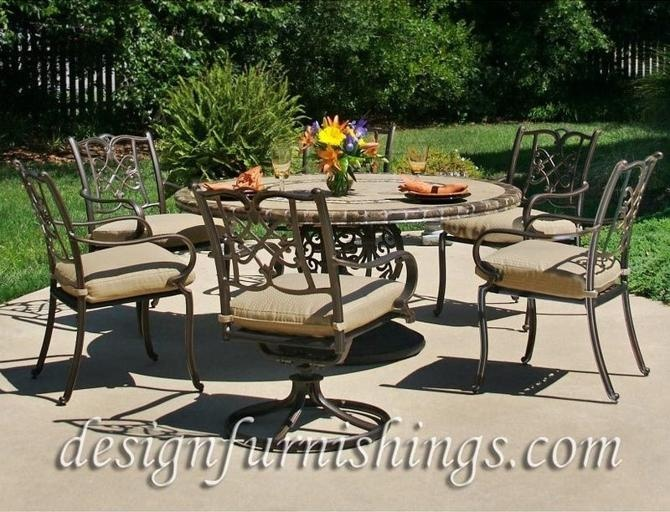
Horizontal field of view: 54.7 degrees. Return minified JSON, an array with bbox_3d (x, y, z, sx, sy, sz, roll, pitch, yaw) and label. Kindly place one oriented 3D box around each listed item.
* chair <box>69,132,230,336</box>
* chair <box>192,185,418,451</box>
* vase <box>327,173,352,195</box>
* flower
[{"bbox_3d":[-1.259,-0.230,4.618,0.971,1.132,0.857,17,22,31],"label":"chair"},{"bbox_3d":[-0.072,0.237,3.006,0.965,1.067,0.901,-1,6,2],"label":"chair"},{"bbox_3d":[0.026,-0.408,3.663,0.137,0.083,0.124,-1,5,2],"label":"vase"},{"bbox_3d":[0.074,-0.631,3.596,0.424,0.229,0.375,-1,31,-20],"label":"flower"}]
